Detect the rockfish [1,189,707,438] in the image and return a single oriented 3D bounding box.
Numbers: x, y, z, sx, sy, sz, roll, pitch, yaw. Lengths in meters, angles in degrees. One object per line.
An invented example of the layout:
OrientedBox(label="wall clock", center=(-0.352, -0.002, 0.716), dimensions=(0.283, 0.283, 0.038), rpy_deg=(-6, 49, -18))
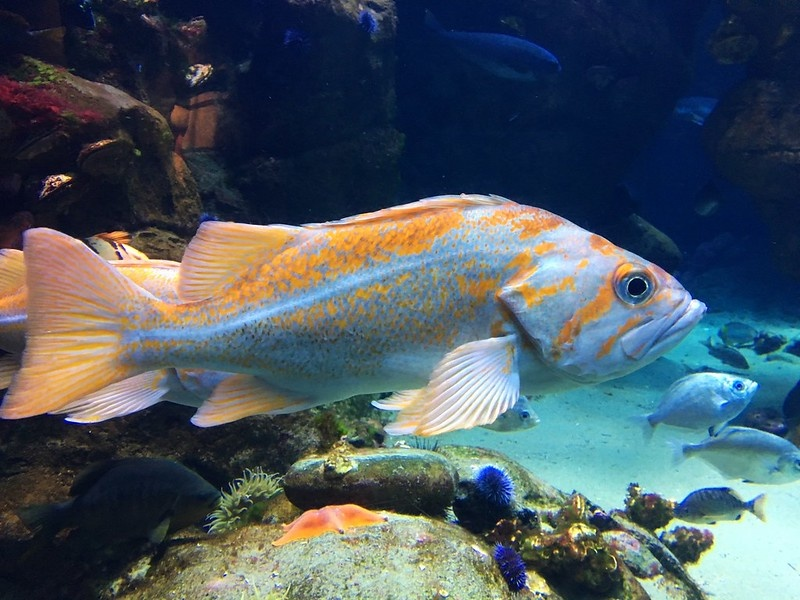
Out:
OrientedBox(label="rockfish", center=(-0.448, 0.170, 6.884), dimensions=(5.567, 1.891, 1.649), rpy_deg=(6, 54, -10))

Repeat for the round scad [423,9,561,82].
OrientedBox(label="round scad", center=(1.659, -3.968, 12.050), dimensions=(2.551, 0.649, 0.729), rpy_deg=(18, 29, 22))

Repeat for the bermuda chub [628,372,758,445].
OrientedBox(label="bermuda chub", center=(3.792, 1.310, 9.730), dimensions=(1.616, 0.414, 0.715), rpy_deg=(-21, 94, -2))

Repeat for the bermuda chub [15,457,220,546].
OrientedBox(label="bermuda chub", center=(-2.419, 2.036, 7.643), dimensions=(2.504, 0.652, 0.942), rpy_deg=(-2, 97, -11))
